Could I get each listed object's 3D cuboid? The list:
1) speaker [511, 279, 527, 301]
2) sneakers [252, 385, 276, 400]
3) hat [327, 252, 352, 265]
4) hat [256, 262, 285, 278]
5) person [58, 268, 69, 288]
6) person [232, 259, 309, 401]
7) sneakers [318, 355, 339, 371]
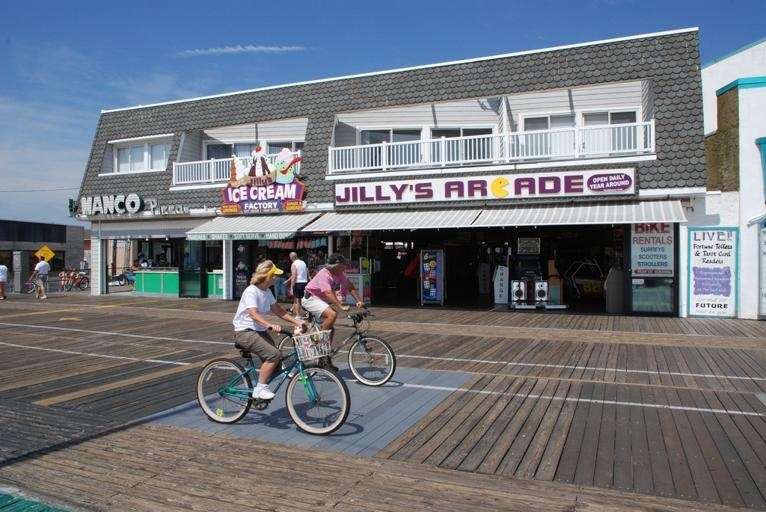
[{"bbox_3d":[4.699,1.245,22.515,0.626,0.853,0.670,0,-5,3],"label":"speaker"},{"bbox_3d":[-2.035,2.314,10.950,0.447,0.199,0.177,-5,-4,24],"label":"sneakers"},{"bbox_3d":[-1.163,0.083,17.106,0.569,0.308,0.469,-1,3,2],"label":"hat"},{"bbox_3d":[-1.971,0.280,11.291,0.447,0.234,0.282,4,5,-18],"label":"hat"},{"bbox_3d":[-16.392,1.238,33.151,0.463,0.777,1.160,-7,15,-26],"label":"person"},{"bbox_3d":[-2.013,1.376,11.193,1.005,2.488,0.960,-6,15,-23],"label":"person"},{"bbox_3d":[-1.006,1.949,11.614,0.217,0.286,0.690,1,-14,-19],"label":"sneakers"}]
